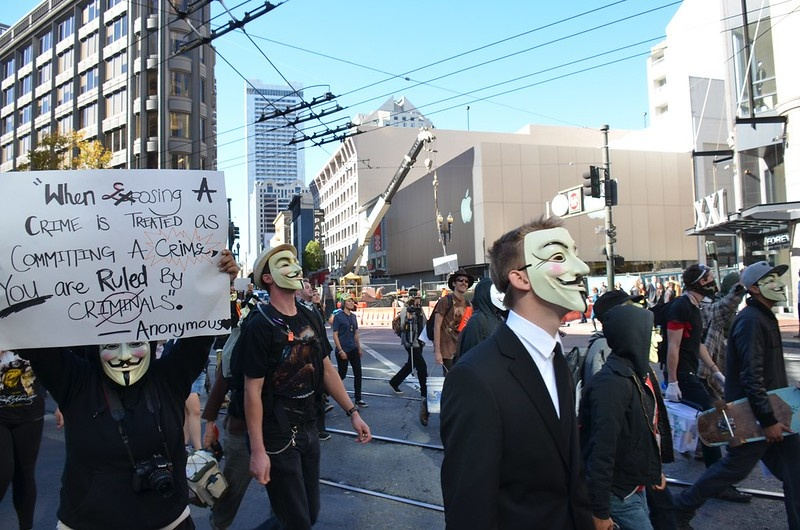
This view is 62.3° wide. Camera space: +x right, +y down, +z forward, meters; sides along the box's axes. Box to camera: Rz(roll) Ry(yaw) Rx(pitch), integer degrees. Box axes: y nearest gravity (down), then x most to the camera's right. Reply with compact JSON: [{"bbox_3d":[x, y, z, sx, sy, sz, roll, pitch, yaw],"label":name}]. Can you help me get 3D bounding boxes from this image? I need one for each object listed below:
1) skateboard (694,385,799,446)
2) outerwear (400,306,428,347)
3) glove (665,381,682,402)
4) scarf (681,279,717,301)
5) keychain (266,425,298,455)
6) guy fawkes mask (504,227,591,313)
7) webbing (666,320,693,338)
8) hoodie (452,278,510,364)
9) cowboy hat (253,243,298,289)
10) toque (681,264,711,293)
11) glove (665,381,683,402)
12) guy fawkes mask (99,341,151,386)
[{"bbox_3d":[3.445,1.509,6.510,0.916,0.594,0.248,0,5,13],"label":"skateboard"},{"bbox_3d":[0.233,1.088,11.587,0.372,0.766,0.541,6,-18,-7],"label":"outerwear"},{"bbox_3d":[3.202,1.487,7.762,0.215,0.208,0.183,11,-14,-11],"label":"glove"},{"bbox_3d":[3.654,0.305,8.050,0.304,0.248,0.241,9,0,25],"label":"scarf"},{"bbox_3d":[-1.036,1.573,5.870,0.285,0.207,0.045,-4,5,-27],"label":"keychain"},{"bbox_3d":[1.109,0.021,4.740,0.655,0.766,0.321,1,1,3],"label":"guy fawkes mask"},{"bbox_3d":[3.288,0.741,7.753,0.196,0.146,0.203,0,1,-12],"label":"webbing"},{"bbox_3d":[1.065,0.879,7.852,0.732,1.354,0.479,11,-20,-37],"label":"hoodie"},{"bbox_3d":[-1.143,0.045,6.263,0.430,0.399,0.378,-19,-6,29],"label":"cowboy hat"},{"bbox_3d":[3.518,0.135,8.031,0.304,0.341,0.252,16,10,-10],"label":"toque"},{"bbox_3d":[3.193,1.493,7.760,0.215,0.210,0.183,10,-11,-3],"label":"glove"},{"bbox_3d":[-2.226,0.731,5.369,0.377,0.520,0.203,-3,27,-20],"label":"guy fawkes mask"}]
